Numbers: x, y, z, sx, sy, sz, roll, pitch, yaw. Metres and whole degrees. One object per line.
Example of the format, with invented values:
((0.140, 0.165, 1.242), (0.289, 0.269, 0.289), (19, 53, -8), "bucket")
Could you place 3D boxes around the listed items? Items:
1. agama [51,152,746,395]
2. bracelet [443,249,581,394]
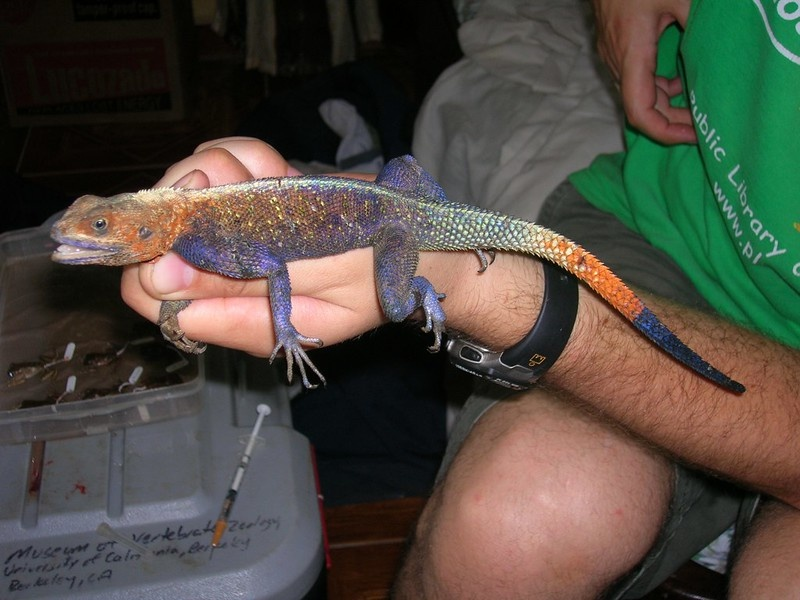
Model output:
((-0.038, -0.146, 2.454), (2.069, 0.506, 0.752), (0, 43, 4), "agama")
((0.453, 0.032, 2.680), (0.461, 0.413, 0.427), (10, 18, 20), "bracelet")
